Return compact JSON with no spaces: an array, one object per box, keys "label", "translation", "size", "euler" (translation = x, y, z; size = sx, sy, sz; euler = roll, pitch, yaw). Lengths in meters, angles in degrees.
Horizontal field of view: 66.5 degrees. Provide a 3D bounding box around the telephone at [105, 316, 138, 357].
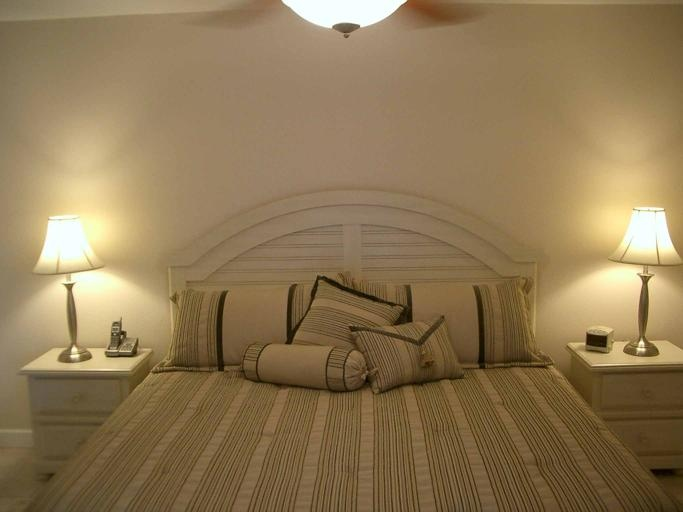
[{"label":"telephone","translation":[-1.315,0.486,3.132],"size":[0.143,0.222,0.156],"euler":[0,-3,-4]}]
